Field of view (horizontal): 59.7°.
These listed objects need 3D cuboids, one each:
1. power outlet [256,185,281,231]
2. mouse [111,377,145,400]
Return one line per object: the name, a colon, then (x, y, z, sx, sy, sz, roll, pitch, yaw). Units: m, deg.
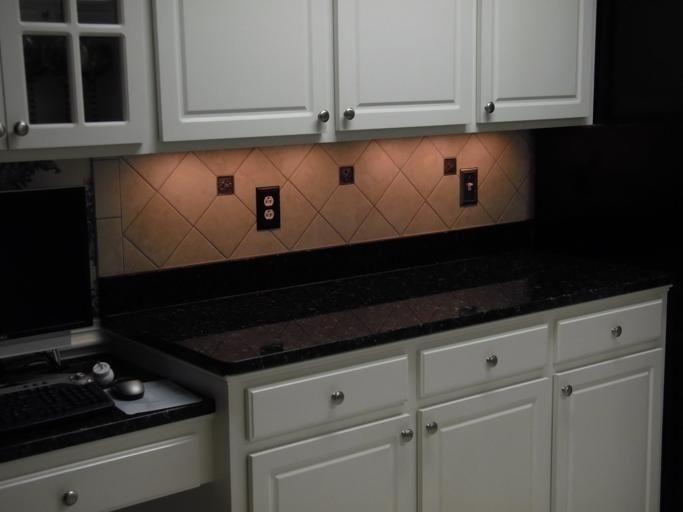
power outlet: (-0.285, -0.191, 2.270, 0.135, 0.231, 0.024, -7, 15, -29)
mouse: (-0.617, 0.380, 1.700, 0.091, 0.046, 0.071, -5, 17, -14)
